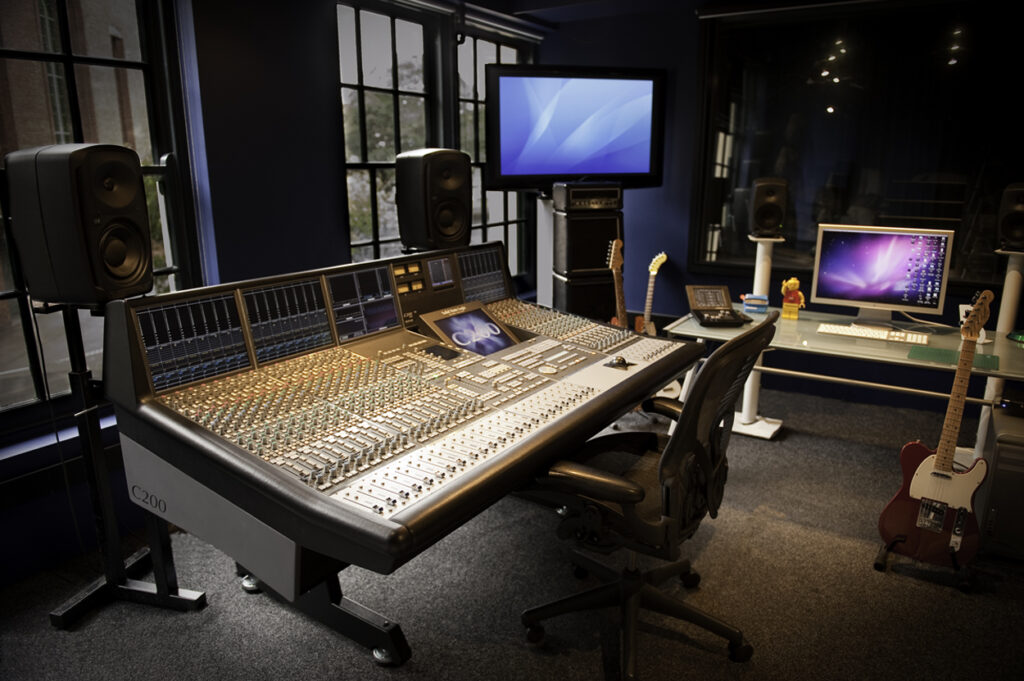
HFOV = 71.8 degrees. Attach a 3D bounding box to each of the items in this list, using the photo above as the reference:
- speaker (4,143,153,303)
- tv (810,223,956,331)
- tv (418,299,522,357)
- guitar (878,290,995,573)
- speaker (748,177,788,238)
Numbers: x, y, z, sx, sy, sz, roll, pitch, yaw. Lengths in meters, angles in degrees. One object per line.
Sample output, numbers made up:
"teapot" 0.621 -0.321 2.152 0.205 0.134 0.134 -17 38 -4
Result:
"speaker" -1.791 -0.476 2.898 0.512 0.634 0.317 -7 19 -22
"tv" 2.245 -0.389 4.271 0.675 0.535 0.182 9 26 25
"tv" -0.209 -0.066 3.439 0.363 0.151 0.347 16 23 39
"guitar" 2.094 0.456 3.471 0.436 1.339 0.464 6 18 17
"speaker" 1.679 -0.867 4.634 0.220 0.361 0.259 6 18 16
